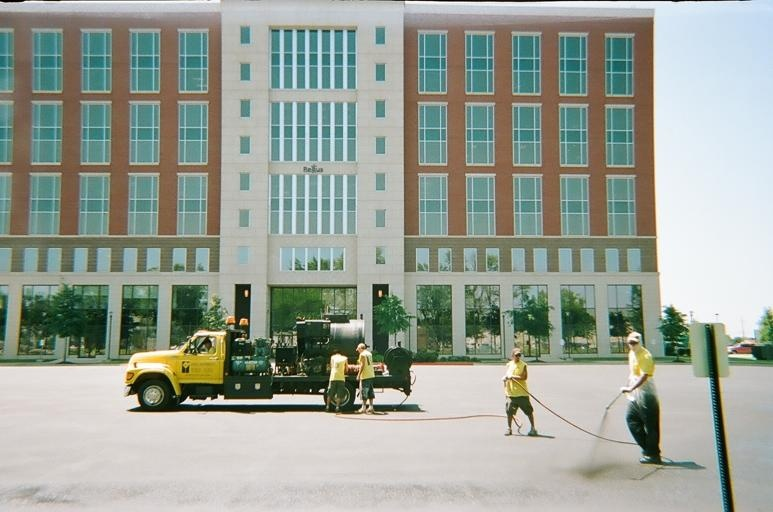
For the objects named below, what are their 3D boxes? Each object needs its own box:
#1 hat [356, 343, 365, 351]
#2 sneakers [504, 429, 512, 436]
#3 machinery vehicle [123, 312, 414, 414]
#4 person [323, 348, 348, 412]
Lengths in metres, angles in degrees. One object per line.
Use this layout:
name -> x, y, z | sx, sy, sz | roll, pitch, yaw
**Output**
hat -> -1.260, 4.419, 34.916 | 0.331, 0.409, 0.418 | 0, 28, -17
sneakers -> 5.010, 7.241, 29.911 | 0.278, 0.212, 0.401 | 1, 5, 9
machinery vehicle -> -6.567, 5.640, 37.712 | 17.195, 5.115, 5.157 | 1, -9, -4
person -> -2.465, 6.104, 34.906 | 0.988, 2.662, 0.974 | 0, 5, -2
